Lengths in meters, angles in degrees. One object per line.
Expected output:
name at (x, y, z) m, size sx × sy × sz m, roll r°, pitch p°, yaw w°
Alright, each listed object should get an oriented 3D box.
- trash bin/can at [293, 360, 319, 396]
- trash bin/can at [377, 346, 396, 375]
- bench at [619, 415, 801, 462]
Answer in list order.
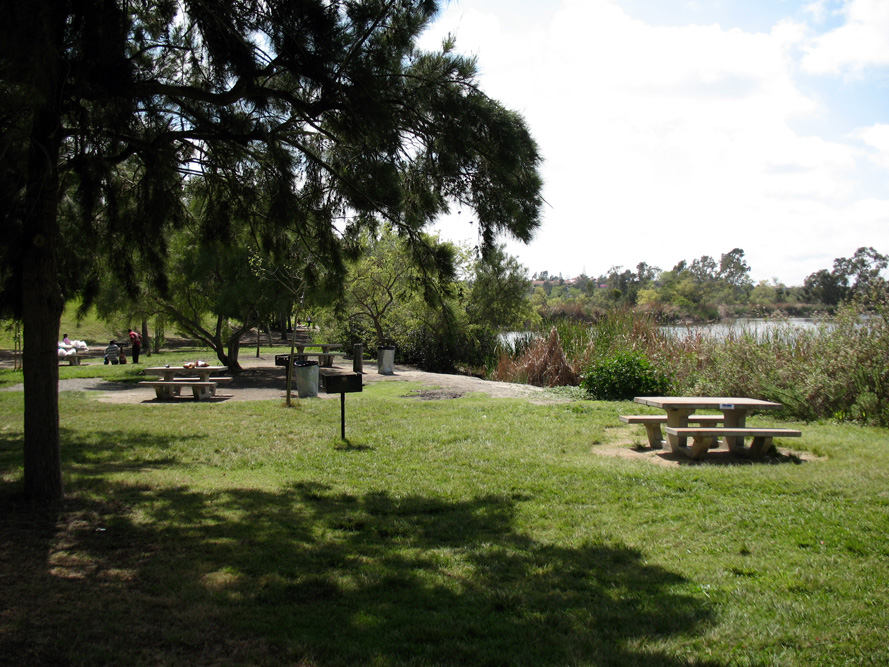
trash bin/can at (-3.488, 1.164, 20.638) m, size 0.555 × 0.817 × 0.799 m, roll -1°, pitch 7°, yaw -15°
trash bin/can at (-1.916, 0.922, 26.794) m, size 0.454 × 0.761 × 1.189 m, roll -1°, pitch 7°, yaw -8°
bench at (4.398, 1.730, 13.728) m, size 2.275 × 0.675 × 1.783 m, roll 1°, pitch 7°, yaw 2°
